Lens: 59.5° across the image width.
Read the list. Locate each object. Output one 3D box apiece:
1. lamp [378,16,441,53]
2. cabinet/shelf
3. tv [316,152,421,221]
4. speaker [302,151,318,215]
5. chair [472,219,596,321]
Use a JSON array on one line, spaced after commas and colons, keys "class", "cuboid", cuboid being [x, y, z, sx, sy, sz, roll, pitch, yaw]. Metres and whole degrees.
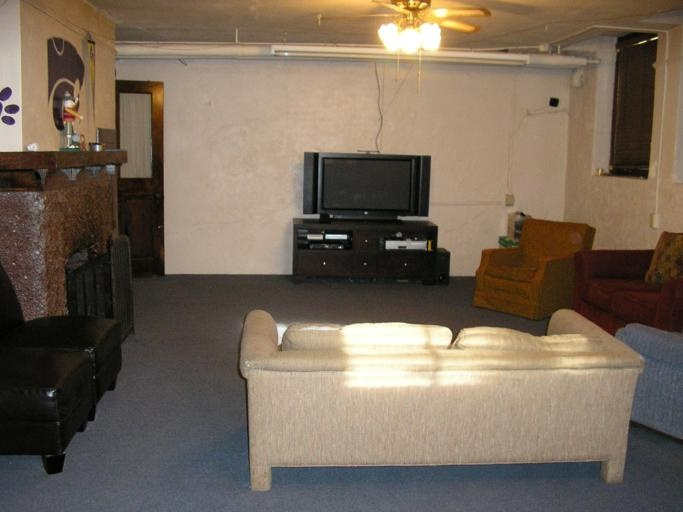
[{"class": "lamp", "cuboid": [0.518, -1.776, 4.758, 0.473, 0.180, 0.462, -16, 29, -42]}, {"class": "cabinet/shelf", "cuboid": [0.309, -0.058, 7.624, 1.813, 0.730, 0.303, 1, 13, -3]}, {"class": "tv", "cuboid": [0.373, -1.041, 7.894, 1.401, 0.859, 0.736, 1, 13, -1]}, {"class": "speaker", "cuboid": [-0.377, -0.921, 7.584, 0.189, 0.773, 0.116, 0, 13, -5]}, {"class": "chair", "cuboid": [2.087, 0.053, 6.603, 1.295, 1.150, 1.003, -4, 8, -34]}]
